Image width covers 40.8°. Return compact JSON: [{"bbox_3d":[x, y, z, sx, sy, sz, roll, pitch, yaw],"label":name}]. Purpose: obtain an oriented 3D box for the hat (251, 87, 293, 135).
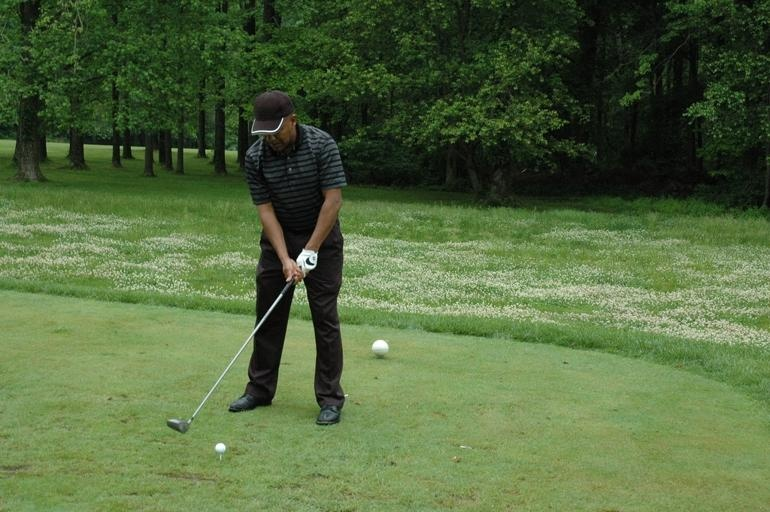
[{"bbox_3d":[-2.712,-3.404,24.800,0.976,1.035,0.279,2,7,-4],"label":"hat"}]
